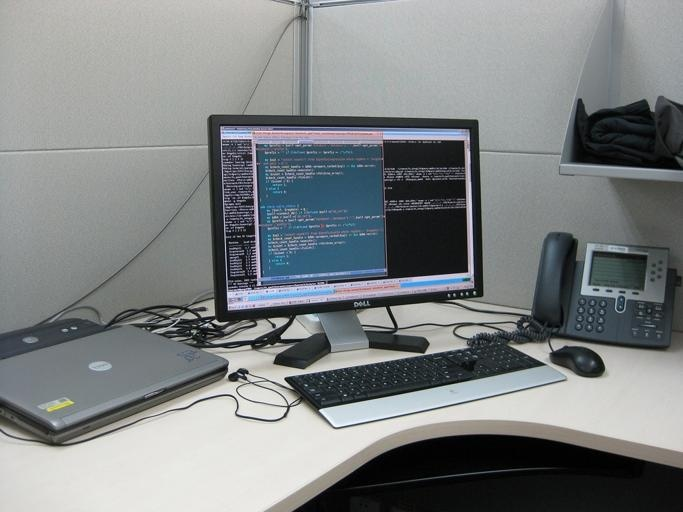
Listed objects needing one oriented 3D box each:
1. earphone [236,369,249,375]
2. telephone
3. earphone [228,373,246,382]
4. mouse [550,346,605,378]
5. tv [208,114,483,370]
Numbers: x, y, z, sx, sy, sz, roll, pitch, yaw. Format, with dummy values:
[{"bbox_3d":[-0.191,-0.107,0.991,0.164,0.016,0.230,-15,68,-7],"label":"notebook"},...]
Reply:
[{"bbox_3d":[-0.212,0.248,1.207,0.020,0.007,0.011,12,18,25],"label":"earphone"},{"bbox_3d":[0.683,0.107,1.467,0.398,0.261,0.266,8,29,25],"label":"telephone"},{"bbox_3d":[-0.222,0.258,1.195,0.032,0.011,0.017,5,17,-12],"label":"earphone"},{"bbox_3d":[0.530,0.235,1.260,0.058,0.034,0.098,-4,15,-32],"label":"mouse"},{"bbox_3d":[0.007,-0.044,1.315,0.627,0.475,0.159,-5,6,-24],"label":"tv"}]
